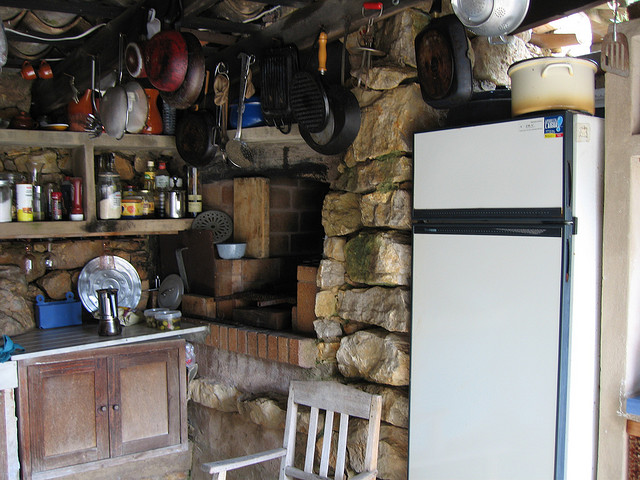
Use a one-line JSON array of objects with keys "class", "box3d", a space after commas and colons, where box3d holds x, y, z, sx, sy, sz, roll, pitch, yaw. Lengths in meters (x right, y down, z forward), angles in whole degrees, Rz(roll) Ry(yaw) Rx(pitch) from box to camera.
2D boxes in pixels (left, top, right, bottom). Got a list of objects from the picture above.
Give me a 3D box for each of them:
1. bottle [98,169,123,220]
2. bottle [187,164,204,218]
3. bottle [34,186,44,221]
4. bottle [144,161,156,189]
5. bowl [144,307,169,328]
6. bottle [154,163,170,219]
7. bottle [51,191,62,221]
[{"class": "bottle", "box3d": [-1.338, -0.280, 3.405, 0.134, 0.302, 0.101, -1, 4, -18]}, {"class": "bottle", "box3d": [-0.853, -0.316, 3.581, 0.136, 0.336, 0.100, 3, 4, 31]}, {"class": "bottle", "box3d": [-1.722, -0.227, 3.305, 0.041, 0.202, 0.110, 0, 4, -14]}, {"class": "bottle", "box3d": [-1.154, -0.438, 3.653, 0.075, 0.184, 0.098, -1, 4, -19]}, {"class": "bowl", "box3d": [-1.014, 0.479, 3.330, 0.120, 0.081, 0.115, 3, -2, 0]}, {"class": "bottle", "box3d": [-1.067, -0.332, 3.628, 0.101, 0.369, 0.166, -1, 4, -16]}, {"class": "bottle", "box3d": [-1.626, -0.206, 3.322, 0.062, 0.171, 0.166, -1, 4, -25]}]
